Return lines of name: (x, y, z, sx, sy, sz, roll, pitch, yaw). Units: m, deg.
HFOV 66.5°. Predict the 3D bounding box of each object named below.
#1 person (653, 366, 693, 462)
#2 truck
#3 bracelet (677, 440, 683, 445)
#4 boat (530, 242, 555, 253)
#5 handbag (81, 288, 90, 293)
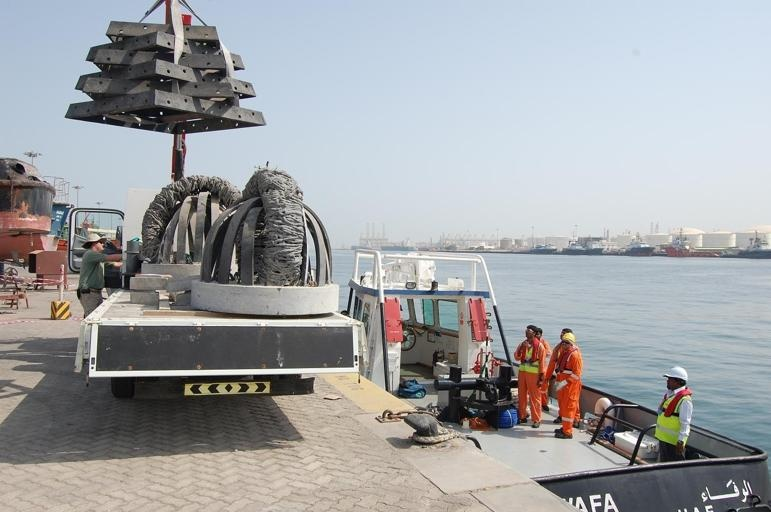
person: (4.850, 2.707, 9.920, 0.359, 1.691, 0.555, 5, 3, -38)
truck: (-3.135, 0.460, 11.001, 3.766, 2.717, 6.037, 1, -4, -20)
bracelet: (4.870, 3.072, 9.697, 0.060, 0.038, 0.056, -1, 0, -18)
boat: (59.232, -3.002, 222.683, 5.166, 3.442, 16.114, -1, -4, -5)
handbag: (-6.612, 0.761, 12.995, 0.114, 0.069, 0.106, 1, -6, -14)
